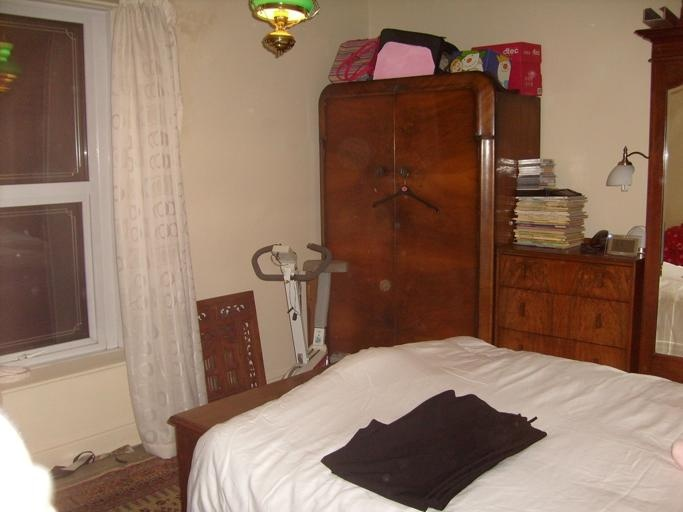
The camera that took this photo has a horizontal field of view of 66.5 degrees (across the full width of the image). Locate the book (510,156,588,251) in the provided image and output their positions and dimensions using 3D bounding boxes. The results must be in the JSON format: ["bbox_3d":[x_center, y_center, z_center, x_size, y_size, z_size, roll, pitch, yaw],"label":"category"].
[{"bbox_3d":[1.349,-0.349,3.424,0.420,0.580,0.334,3,10,37],"label":"book"}]

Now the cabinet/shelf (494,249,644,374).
[{"bbox_3d":[1.361,0.315,3.034,0.707,0.626,0.273,4,6,34],"label":"cabinet/shelf"}]
